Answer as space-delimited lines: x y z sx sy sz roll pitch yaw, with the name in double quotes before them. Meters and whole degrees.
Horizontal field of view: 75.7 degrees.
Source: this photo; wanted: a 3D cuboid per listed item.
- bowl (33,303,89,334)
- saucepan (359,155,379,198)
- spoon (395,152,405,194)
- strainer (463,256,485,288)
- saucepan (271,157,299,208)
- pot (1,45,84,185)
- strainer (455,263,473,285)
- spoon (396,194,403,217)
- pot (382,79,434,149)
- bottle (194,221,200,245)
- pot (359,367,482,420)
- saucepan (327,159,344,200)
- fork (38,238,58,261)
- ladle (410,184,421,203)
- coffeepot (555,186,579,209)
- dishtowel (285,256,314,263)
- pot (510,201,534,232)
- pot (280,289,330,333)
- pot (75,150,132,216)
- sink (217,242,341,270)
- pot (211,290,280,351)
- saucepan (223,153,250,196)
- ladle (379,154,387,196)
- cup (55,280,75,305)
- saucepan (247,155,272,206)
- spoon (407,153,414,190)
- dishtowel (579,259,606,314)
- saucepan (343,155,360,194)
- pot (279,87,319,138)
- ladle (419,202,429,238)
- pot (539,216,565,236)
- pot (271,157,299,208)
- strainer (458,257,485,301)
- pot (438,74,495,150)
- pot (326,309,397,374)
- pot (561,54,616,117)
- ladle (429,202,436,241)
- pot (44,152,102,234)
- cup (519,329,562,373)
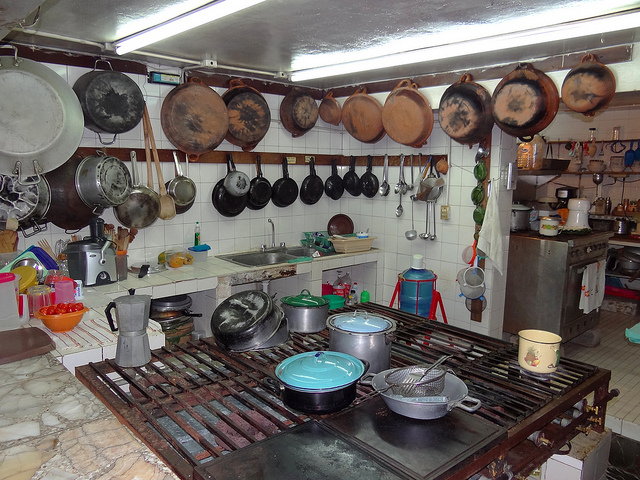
"bowl" -1.410 0.434 2.268 0.205 0.124 0.234 11 15 42
"saucepan" 0.560 -0.702 4.692 0.093 0.416 0.242 -1 1 -43
"spoon" 0.860 -0.711 4.436 0.097 0.433 0.096 -7 14 -33
"strainer" 1.467 0.300 3.916 0.156 0.099 0.264 9 56 16
"saucepan" -0.370 -0.604 4.384 0.337 0.528 0.100 -9 15 -40
"pot" -1.818 -0.761 2.688 0.500 0.780 0.233 -8 15 -38
"strainer" 1.375 0.318 4.002 0.105 0.194 0.070 19 10 -41
"spoon" 0.866 -0.375 4.502 0.065 0.243 0.046 1 12 1
"pot" 0.818 -1.207 3.906 0.481 0.589 0.179 5 12 18
"bottle" -1.161 -0.068 3.866 0.049 0.211 0.096 -2 12 -12
"pot" 0.374 0.571 1.560 0.443 0.121 0.252 1 11 0
"saucepan" 0.174 -0.699 4.814 0.245 0.468 0.121 -10 16 -42
"fork" -2.016 0.072 3.041 0.024 0.196 0.023 -36 8 -16
"ladle" 1.004 -0.497 4.351 0.103 0.177 0.077 16 -14 -21
"coffeepot" 3.104 -0.533 5.216 0.206 0.240 0.764 7 12 30
"dishtowel" -0.204 0.189 3.960 0.125 0.026 0.323 9 13 37
"pot" 2.155 -0.222 4.374 0.260 0.249 0.275 1 5 0
"pot" -0.075 0.349 2.247 0.224 0.183 0.220 0 7 0
"pot" -1.551 -0.409 2.947 0.250 0.426 0.326 -5 -2 12
"sink" -0.391 0.158 4.174 1.125 0.173 0.637 -9 14 -42
"pot" -0.374 0.359 2.060 0.286 0.287 0.324 10 12 25
"saucepan" -0.799 -0.594 3.885 0.236 0.380 0.065 -14 4 -36
"ladle" 0.703 -0.716 4.569 0.063 0.450 0.088 -1 12 -6
"cup" -1.479 0.298 2.380 0.092 0.122 0.114 -6 13 -32
"saucepan" -0.613 -0.562 4.127 0.281 0.426 0.075 -14 13 -40
"spoon" 0.966 -0.726 4.383 0.045 0.378 0.067 -5 13 -25
"dishtowel" 2.817 0.475 4.290 0.551 0.513 0.113 -11 15 -39
"saucepan" 0.364 -0.747 4.801 0.229 0.361 0.074 -1 2 38
"pot" -0.232 -1.362 4.371 0.382 0.468 0.164 -9 15 -40
"ladle" 1.082 -0.208 4.291 0.074 0.363 0.077 -3 12 -16
"pot" 2.358 -0.142 4.188 0.269 0.199 0.207 3 2 -10
"pot" -0.382 -0.605 4.342 0.325 0.459 0.150 -7 3 -33
"strainer" 1.457 0.362 3.945 0.281 0.405 0.110 8 0 33
"pot" 1.252 -1.079 3.532 0.210 0.547 0.395 -6 16 -39
"pot" 0.195 0.417 1.896 0.273 0.240 0.250 1 6 0
"pot" 1.848 -1.037 2.836 0.309 0.325 0.115 8 14 33
"ladle" 1.171 -0.186 4.249 0.057 0.398 0.051 4 12 14
"pot" -1.779 -0.308 2.877 0.449 0.477 0.467 3 8 0
"cup" 0.965 0.482 1.867 0.187 0.138 0.152 4 4 45
